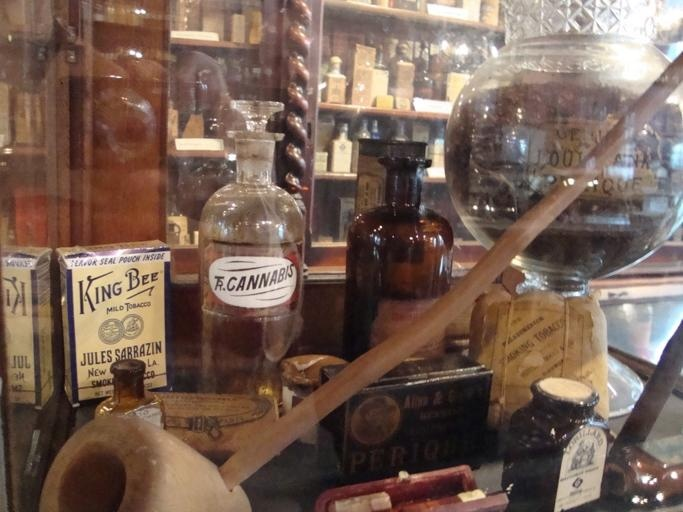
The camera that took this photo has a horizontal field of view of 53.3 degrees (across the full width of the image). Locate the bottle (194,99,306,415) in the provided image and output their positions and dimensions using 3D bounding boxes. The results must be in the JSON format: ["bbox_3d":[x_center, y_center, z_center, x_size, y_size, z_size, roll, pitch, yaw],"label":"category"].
[{"bbox_3d":[-0.095,-0.010,0.743,0.113,0.296,0.175,1,17,-12],"label":"bottle"}]

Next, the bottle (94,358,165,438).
[{"bbox_3d":[-0.220,0.143,0.732,0.075,0.113,0.059,2,1,-19],"label":"bottle"}]
